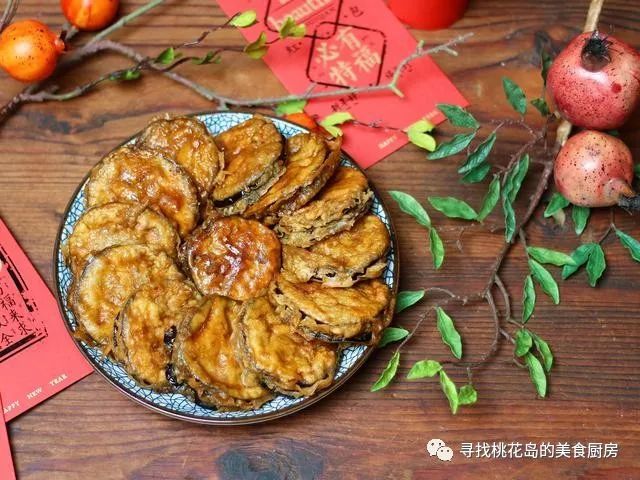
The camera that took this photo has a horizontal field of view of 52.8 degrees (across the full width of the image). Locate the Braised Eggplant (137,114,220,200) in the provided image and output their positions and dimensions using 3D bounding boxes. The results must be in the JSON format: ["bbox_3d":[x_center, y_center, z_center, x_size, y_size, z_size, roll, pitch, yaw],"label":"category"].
[{"bbox_3d":[-0.597,-0.396,2.955,0.345,0.119,0.398,-32,68,-6],"label":"Braised Eggplant"}]

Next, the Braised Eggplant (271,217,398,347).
[{"bbox_3d":[0.070,0.190,2.809,0.543,0.146,0.489,-13,60,-14],"label":"Braised Eggplant"}]

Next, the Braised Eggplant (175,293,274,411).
[{"bbox_3d":[-0.455,0.487,2.786,0.113,0.600,0.438,-29,120,-43],"label":"Braised Eggplant"}]

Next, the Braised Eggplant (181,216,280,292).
[{"bbox_3d":[-0.373,0.064,2.900,0.484,0.146,0.376,9,93,27],"label":"Braised Eggplant"}]
